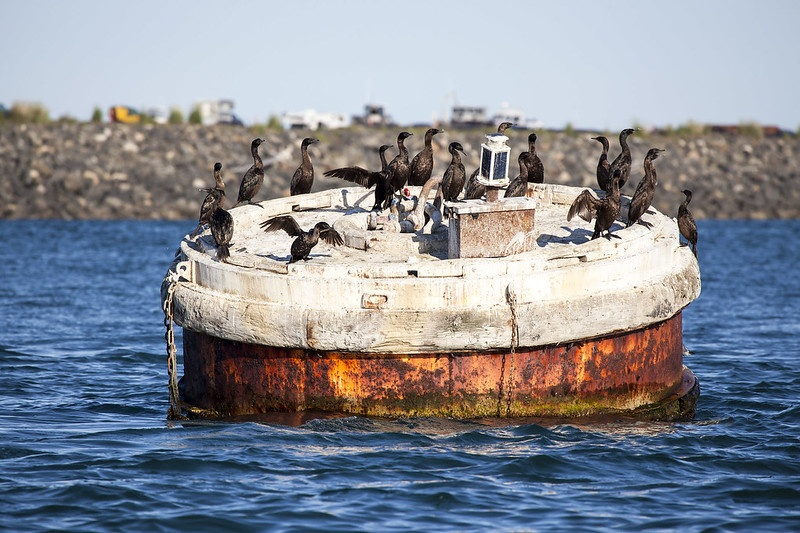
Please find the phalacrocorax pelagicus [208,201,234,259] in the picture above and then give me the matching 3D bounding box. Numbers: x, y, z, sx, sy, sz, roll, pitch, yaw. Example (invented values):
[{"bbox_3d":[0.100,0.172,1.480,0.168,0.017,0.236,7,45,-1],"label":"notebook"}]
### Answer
[{"bbox_3d":[-3.126,-0.576,32.034,0.350,0.965,0.606,-2,-18,-6],"label":"phalacrocorax pelagicus"}]
